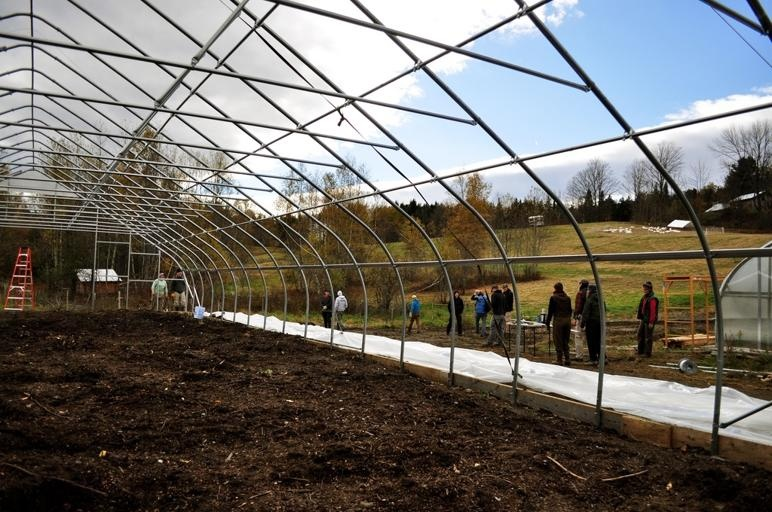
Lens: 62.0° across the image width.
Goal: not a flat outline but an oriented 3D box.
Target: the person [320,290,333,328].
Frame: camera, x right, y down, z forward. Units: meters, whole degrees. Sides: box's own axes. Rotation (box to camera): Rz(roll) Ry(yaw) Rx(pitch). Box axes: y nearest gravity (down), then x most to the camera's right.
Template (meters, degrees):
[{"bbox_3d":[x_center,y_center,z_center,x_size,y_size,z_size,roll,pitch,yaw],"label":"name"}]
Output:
[{"bbox_3d":[-1.978,1.800,21.230,0.273,1.323,0.948,-1,12,-10],"label":"person"}]

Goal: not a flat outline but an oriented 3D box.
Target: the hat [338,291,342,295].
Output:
[{"bbox_3d":[-1.509,1.210,20.768,0.095,0.128,0.129,-2,-32,6],"label":"hat"}]

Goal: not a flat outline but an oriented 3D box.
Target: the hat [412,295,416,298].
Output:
[{"bbox_3d":[0.971,1.425,22.535,0.104,0.072,0.128,4,1,1],"label":"hat"}]
